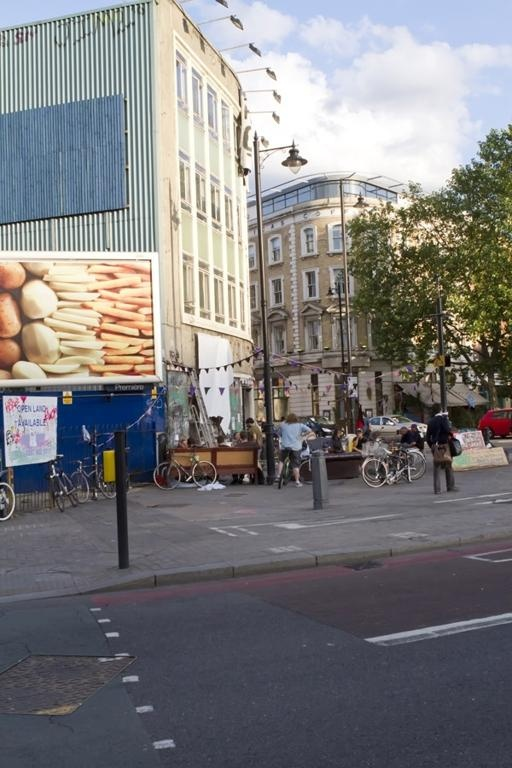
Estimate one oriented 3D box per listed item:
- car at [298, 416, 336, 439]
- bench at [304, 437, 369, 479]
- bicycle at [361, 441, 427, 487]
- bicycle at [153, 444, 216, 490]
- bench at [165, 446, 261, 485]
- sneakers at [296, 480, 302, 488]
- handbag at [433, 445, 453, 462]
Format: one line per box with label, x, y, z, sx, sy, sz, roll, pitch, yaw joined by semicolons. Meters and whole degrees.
car;3.045;2.018;35.920;1.122;0.812;2.354;-1;-6;-1
bench;2.232;1.705;18.864;1.242;0.872;0.725;0;-15;-4
bicycle;3.131;1.955;17.842;0.772;0.980;1.940;-10;-6;43
bicycle;-1.782;2.146;18.780;1.867;1.247;0.746;2;-9;-8
bench;-0.977;1.985;18.841;2.096;0.676;0.397;-3;-1;-2
sneakers;1.044;2.382;17.890;0.079;0.148;0.212;3;11;17
handbag;3.650;1.352;14.592;0.319;0.327;0.158;-2;-8;12
